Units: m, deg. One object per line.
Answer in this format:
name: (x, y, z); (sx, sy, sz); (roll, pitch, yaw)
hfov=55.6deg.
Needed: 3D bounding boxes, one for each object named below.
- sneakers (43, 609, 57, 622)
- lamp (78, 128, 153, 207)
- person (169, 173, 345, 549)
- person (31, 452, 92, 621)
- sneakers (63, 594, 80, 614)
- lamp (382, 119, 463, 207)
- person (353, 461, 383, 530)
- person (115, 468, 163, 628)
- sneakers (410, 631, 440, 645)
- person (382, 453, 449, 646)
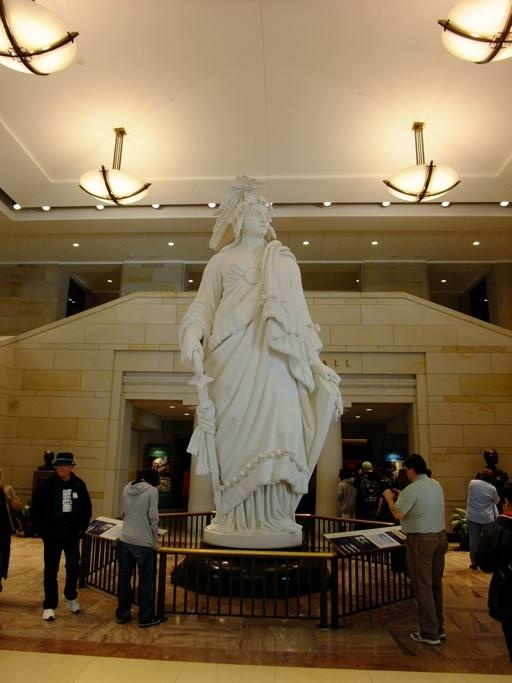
sneakers: (-1.459, 1.936, 3.447); (0.054, 0.060, 0.139); (4, -20, -13)
lamp: (-2.460, -3.113, 8.545); (1.063, 1.065, 1.177); (-8, -44, -30)
person: (0.008, 0.312, 4.092); (1.295, 2.648, 0.581); (2, -12, 0)
person: (-1.551, 1.501, 3.843); (0.451, 1.203, 0.655); (6, -12, -18)
sneakers: (-1.432, 2.005, 3.732); (0.075, 0.090, 0.207); (15, -15, -37)
lamp: (2.905, -3.285, 8.574); (0.895, 0.948, 0.924); (-5, 11, 9)
person: (1.478, 2.038, 6.424); (0.327, 0.772, 1.301); (-1, -11, 12)
person: (-0.864, 1.507, 3.632); (0.320, 1.046, 0.618); (5, -12, -14)
sneakers: (1.056, 1.868, 3.049); (0.063, 0.063, 0.169); (14, -14, -37)
person: (1.109, 1.387, 3.354); (0.385, 1.177, 0.496); (-2, -12, 18)
